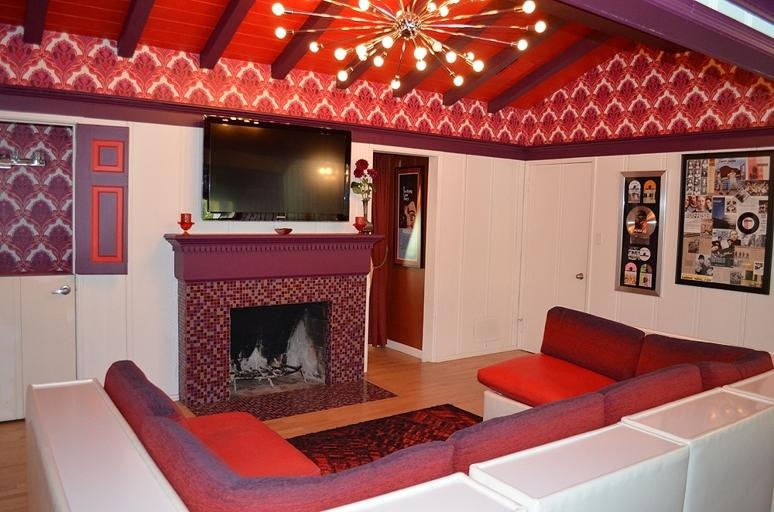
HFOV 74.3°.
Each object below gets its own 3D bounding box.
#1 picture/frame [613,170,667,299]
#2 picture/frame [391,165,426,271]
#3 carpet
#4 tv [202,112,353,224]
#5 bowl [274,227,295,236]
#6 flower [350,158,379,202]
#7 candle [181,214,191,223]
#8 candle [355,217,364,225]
[{"bbox_3d":[3.173,-0.310,6.360,0.605,1.510,0.248,8,11,36],"label":"picture/frame"},{"bbox_3d":[0.329,-0.587,7.404,0.223,1.435,0.759,-4,10,-31],"label":"picture/frame"},{"bbox_3d":[-0.027,1.695,4.715,2.033,0.011,0.831,-2,8,-29],"label":"carpet"},{"bbox_3d":[-1.191,-0.953,5.664,1.651,1.079,0.082,-3,10,-28],"label":"tv"},{"bbox_3d":[-1.149,-0.284,5.637,0.159,0.072,0.291,-2,8,-22],"label":"bowl"},{"bbox_3d":[-0.282,-0.956,6.275,0.344,0.505,0.214,-6,11,-40],"label":"flower"},{"bbox_3d":[-2.051,-0.403,5.229,0.099,0.071,0.098,0,1,6],"label":"candle"},{"bbox_3d":[-0.328,-0.440,6.143,0.095,0.089,0.094,2,-3,-21],"label":"candle"}]
